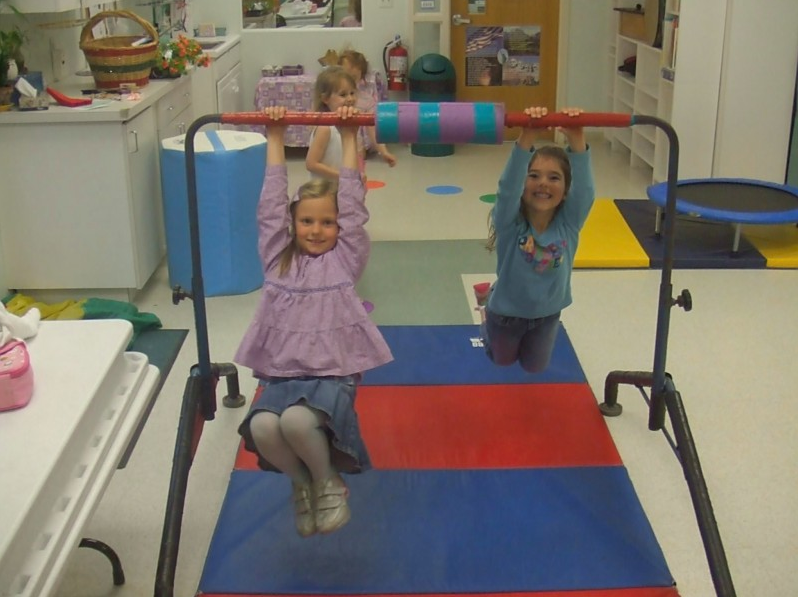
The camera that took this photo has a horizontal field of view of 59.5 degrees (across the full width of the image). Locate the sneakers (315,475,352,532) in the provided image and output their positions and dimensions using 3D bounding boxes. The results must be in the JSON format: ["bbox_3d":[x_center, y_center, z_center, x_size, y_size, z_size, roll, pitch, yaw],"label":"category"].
[{"bbox_3d":[-0.194,0.599,2.034,0.071,0.084,0.187,-4,5,-1],"label":"sneakers"}]

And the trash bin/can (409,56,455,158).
[{"bbox_3d":[0.317,-1.850,6.726,0.454,0.897,0.498,0,26,4],"label":"trash bin/can"}]

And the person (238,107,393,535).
[{"bbox_3d":[-0.271,0.038,2.163,0.473,1.067,0.808,-2,26,0],"label":"person"}]

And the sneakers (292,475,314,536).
[{"bbox_3d":[-0.282,0.624,2.074,0.054,0.179,0.070,-11,-8,27],"label":"sneakers"}]

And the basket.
[{"bbox_3d":[-1.723,-1.564,4.347,0.446,0.433,0.678,-11,29,-17],"label":"basket"}]

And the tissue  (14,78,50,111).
[{"bbox_3d":[-1.933,-1.055,3.697,0.160,0.231,0.222,-4,4,-33],"label":"tissue "}]

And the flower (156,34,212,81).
[{"bbox_3d":[-1.471,-1.569,4.713,0.380,0.296,0.359,-6,33,-22],"label":"flower"}]

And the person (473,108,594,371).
[{"bbox_3d":[0.528,-0.151,2.673,0.390,1.218,0.479,1,26,7],"label":"person"}]
